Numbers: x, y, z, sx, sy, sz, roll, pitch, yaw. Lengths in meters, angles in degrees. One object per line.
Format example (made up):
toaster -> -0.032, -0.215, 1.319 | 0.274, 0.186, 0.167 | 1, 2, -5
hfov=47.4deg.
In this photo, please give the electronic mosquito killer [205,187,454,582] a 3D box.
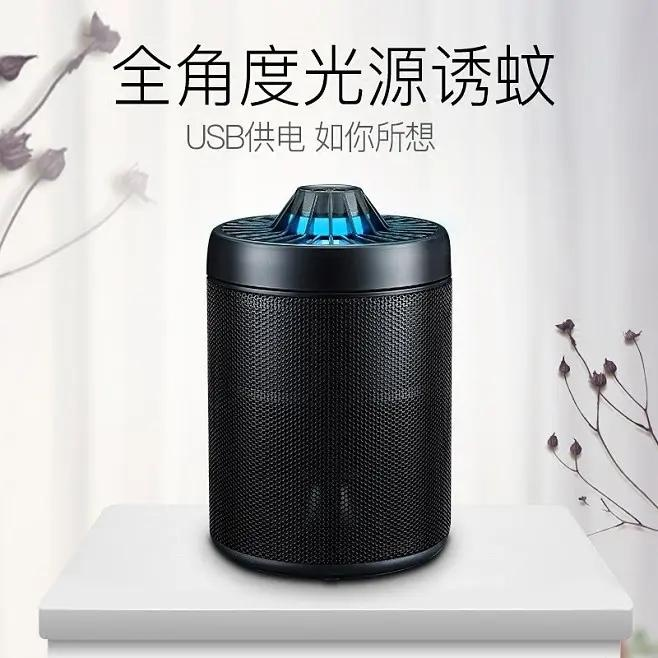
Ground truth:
electronic mosquito killer -> -0.004, 0.036, 0.672 | 0.197, 0.307, 0.198 | -9, 15, -42
